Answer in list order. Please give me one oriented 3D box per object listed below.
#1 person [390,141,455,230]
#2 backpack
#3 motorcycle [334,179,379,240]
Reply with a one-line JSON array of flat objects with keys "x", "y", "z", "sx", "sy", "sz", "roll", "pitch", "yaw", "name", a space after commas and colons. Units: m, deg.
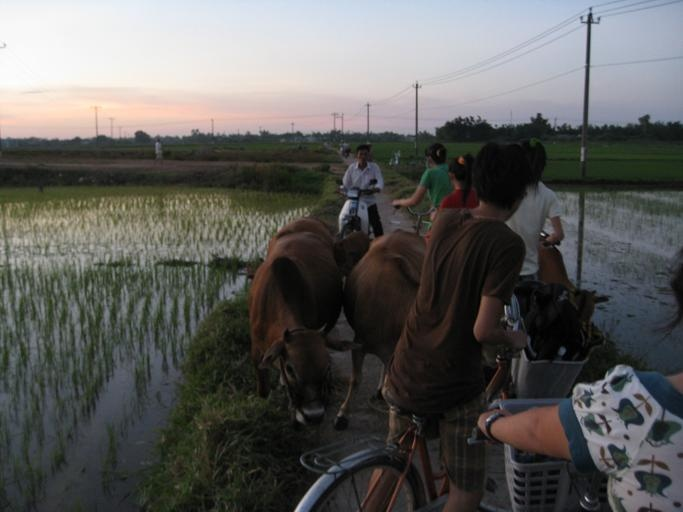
[{"x": 0.830, "y": -0.731, "z": 6.008, "sx": 0.442, "sy": 1.090, "sz": 0.812, "roll": 2, "pitch": -16, "yaw": 21, "name": "person"}, {"x": 1.320, "y": 0.392, "z": 3.542, "sx": 0.408, "sy": 0.567, "sz": 0.223, "roll": -3, "pitch": -2, "yaw": 2, "name": "backpack"}, {"x": 0.240, "y": -0.644, "z": 7.871, "sx": 0.494, "sy": 0.872, "sz": 1.195, "roll": 0, "pitch": 15, "yaw": 17, "name": "motorcycle"}]
